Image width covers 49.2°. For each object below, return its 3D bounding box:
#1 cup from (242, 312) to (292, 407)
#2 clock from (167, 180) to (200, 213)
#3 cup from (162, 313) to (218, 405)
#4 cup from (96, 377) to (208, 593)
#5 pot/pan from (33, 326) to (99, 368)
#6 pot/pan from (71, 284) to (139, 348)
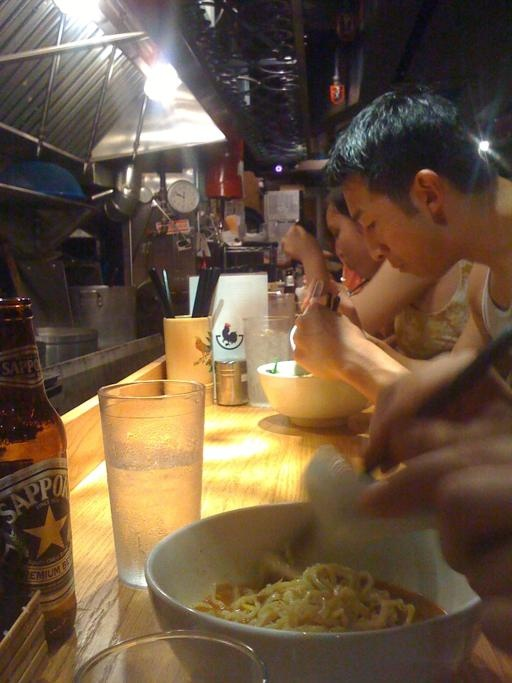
[{"bbox_3d":[0.056,0.046,1.497,0.203,0.297,0.195,2,4,0],"label":"cup"},{"bbox_3d":[-0.602,-1.188,4.571,0.249,0.284,0.171,-3,9,-10],"label":"clock"},{"bbox_3d":[-0.168,0.035,1.480,0.110,0.236,0.151,-2,7,-20],"label":"cup"},{"bbox_3d":[-0.105,0.150,0.641,0.136,0.188,0.129,3,6,0],"label":"cup"},{"bbox_3d":[-0.666,-0.003,2.012,0.216,0.160,0.243,0,8,-11],"label":"pot/pan"},{"bbox_3d":[-0.737,-0.169,2.928,0.344,0.329,0.364,-5,8,-32],"label":"pot/pan"}]
